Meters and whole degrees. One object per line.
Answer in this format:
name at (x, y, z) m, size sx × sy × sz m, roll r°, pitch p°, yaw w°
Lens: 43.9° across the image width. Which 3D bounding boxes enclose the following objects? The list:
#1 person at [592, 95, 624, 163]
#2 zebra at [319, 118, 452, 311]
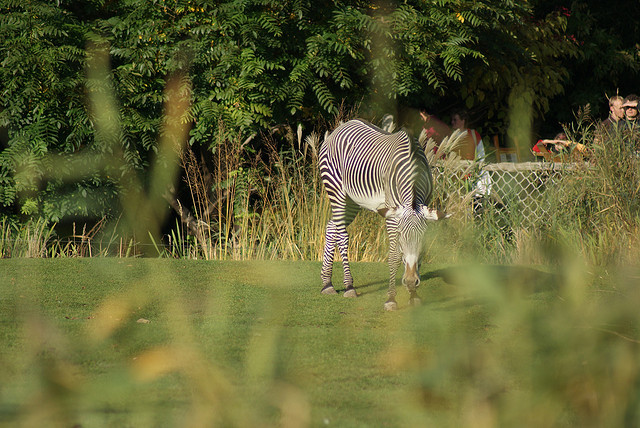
person at (3.614, -1.073, 9.931) m, size 0.337 × 0.898 × 1.201 m, roll 0°, pitch 1°, yaw 21°
zebra at (0.617, -0.060, 8.964) m, size 0.954 × 2.123 × 1.837 m, roll 0°, pitch 1°, yaw -28°
